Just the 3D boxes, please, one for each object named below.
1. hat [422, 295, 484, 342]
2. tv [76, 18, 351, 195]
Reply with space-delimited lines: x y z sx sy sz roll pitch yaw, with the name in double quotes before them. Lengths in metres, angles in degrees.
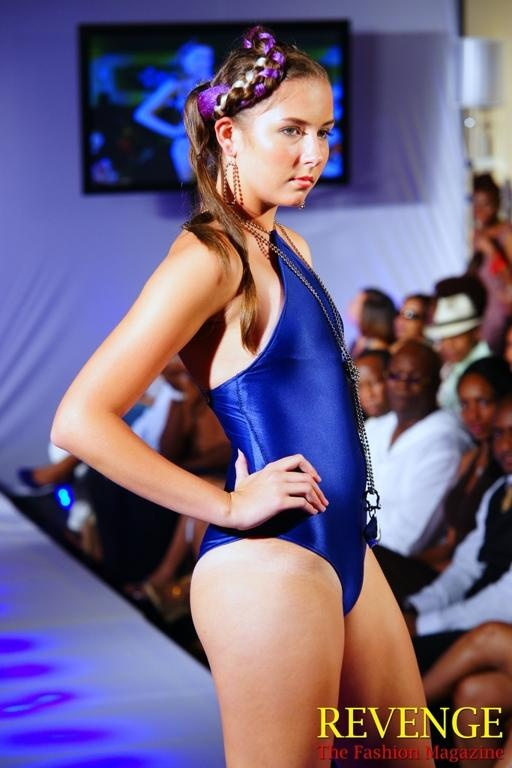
"hat" 0.658 -0.226 2.501 0.176 0.064 0.155 -37 13 -26
"tv" -0.131 -0.906 2.502 0.964 0.538 0.028 6 20 14
